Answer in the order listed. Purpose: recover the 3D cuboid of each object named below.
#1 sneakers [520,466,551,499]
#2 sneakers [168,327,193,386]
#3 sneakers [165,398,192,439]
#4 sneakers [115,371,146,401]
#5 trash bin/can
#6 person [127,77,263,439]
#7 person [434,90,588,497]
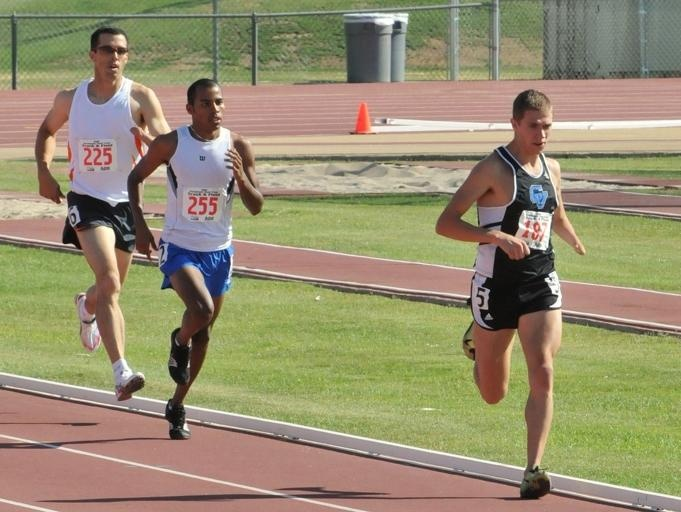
[{"bbox_3d":[0.902,1.030,4.635,0.056,0.116,0.058,-8,-31,-20],"label":"sneakers"},{"bbox_3d":[-0.883,0.554,5.426,0.112,0.295,0.130,-1,10,-3],"label":"sneakers"},{"bbox_3d":[-0.902,0.893,5.447,0.094,0.106,0.258,-5,28,-19],"label":"sneakers"},{"bbox_3d":[-1.176,0.725,5.474,0.106,0.091,0.239,-32,2,-32],"label":"sneakers"},{"bbox_3d":[1.090,-6.607,31.368,1.991,2.207,1.820,-1,10,-3],"label":"trash bin/can"},{"bbox_3d":[-0.795,-0.007,5.575,0.655,1.944,0.656,-8,12,-38],"label":"person"},{"bbox_3d":[0.832,0.137,5.074,0.693,1.937,1.135,2,10,13],"label":"person"}]
